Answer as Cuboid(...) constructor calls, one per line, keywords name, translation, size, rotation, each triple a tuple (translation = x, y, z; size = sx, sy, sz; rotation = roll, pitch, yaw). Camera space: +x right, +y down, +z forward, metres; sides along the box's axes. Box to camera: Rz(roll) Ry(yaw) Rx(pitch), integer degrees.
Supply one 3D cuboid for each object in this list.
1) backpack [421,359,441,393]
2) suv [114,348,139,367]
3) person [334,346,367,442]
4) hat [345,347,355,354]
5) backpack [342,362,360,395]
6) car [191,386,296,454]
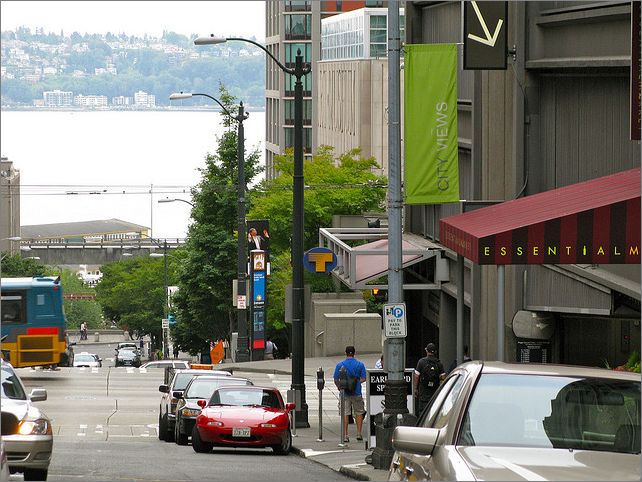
Cuboid(name="backpack", translation=(2.413, 2.901, 33.528), size=(0.429, 0.686, 0.406), rotation=(7, 6, 11))
Cuboid(name="suv", translation=(-10.406, 6.229, 81.640), size=(0.833, 0.775, 1.858), rotation=(0, -6, -8))
Cuboid(name="person", translation=(0.656, 3.450, 34.395), size=(0.658, 2.190, 0.554), rotation=(-1, -2, 3))
Cuboid(name="hat", translation=(0.641, 2.453, 34.103), size=(0.203, 0.170, 0.340), rotation=(2, -4, 2))
Cuboid(name="backpack", translation=(0.649, 3.101, 34.159), size=(0.537, 0.817, 0.451), rotation=(4, -18, -8))
Cuboid(name="car", translation=(-1.728, 4.080, 34.566), size=(2.226, 1.459, 4.129), rotation=(1, -7, 0))
